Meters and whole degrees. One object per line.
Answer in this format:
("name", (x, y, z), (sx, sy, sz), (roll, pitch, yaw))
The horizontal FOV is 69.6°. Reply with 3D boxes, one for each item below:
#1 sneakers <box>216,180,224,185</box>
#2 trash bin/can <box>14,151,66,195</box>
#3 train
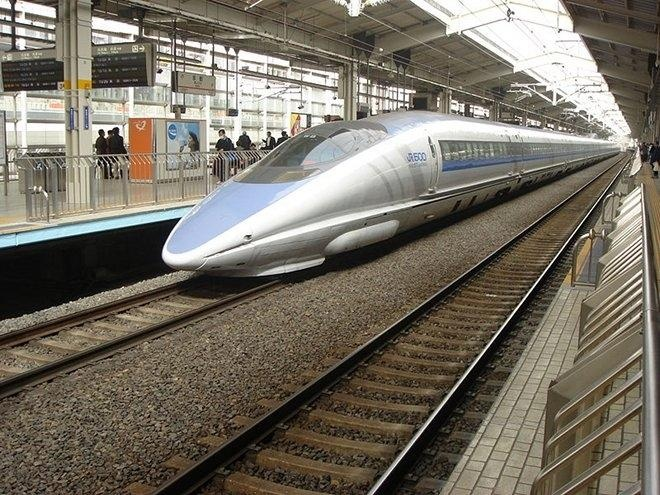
("sneakers", (-3.081, -1.758, 13.013), (0.123, 0.087, 0.293), (0, 4, 20))
("trash bin/can", (-5.744, -1.433, 9.477), (0.432, 0.714, 1.058), (4, 14, 15))
("train", (6.252, -2.700, 19.084), (3.581, 2.650, 29.137), (4, 8, 39))
